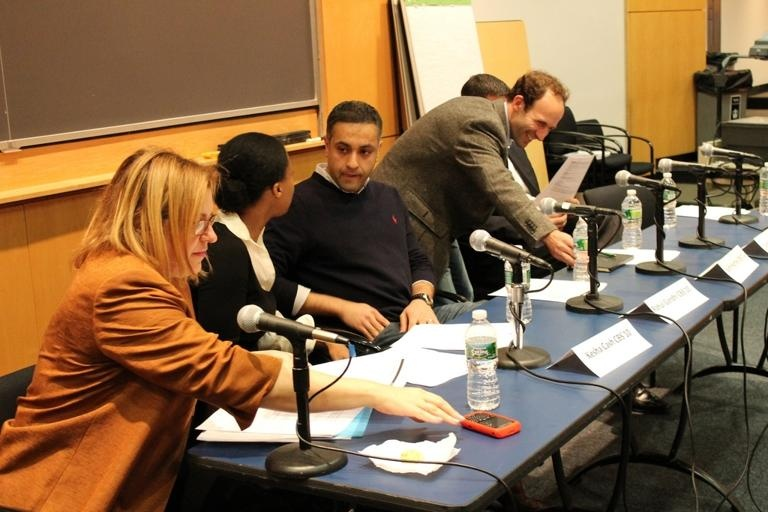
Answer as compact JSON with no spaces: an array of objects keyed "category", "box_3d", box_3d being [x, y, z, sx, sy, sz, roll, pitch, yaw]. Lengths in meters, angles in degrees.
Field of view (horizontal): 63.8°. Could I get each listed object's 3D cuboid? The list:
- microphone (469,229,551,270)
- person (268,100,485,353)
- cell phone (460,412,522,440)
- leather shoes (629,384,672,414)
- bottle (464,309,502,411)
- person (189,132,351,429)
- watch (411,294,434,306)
[{"category":"microphone","box_3d":[0.433,-0.022,2.075,0.255,0.148,0.219,2,16,27]},{"category":"person","box_3d":[-0.009,-0.091,2.796,1.134,1.129,0.933,-5,18,-8]},{"category":"cell phone","box_3d":[0.308,0.484,1.757,0.107,0.025,0.080,6,8,33]},{"category":"leather shoes","box_3d":[1.494,0.798,3.368,0.302,0.123,0.140,1,8,23]},{"category":"bottle","box_3d":[0.295,0.310,1.887,0.104,0.294,0.224,-4,15,9]},{"category":"person","box_3d":[-0.485,0.251,2.572,0.740,1.402,0.641,0,18,-11]},{"category":"watch","box_3d":[0.180,0.203,2.878,0.083,0.078,0.053,3,51,30]}]
